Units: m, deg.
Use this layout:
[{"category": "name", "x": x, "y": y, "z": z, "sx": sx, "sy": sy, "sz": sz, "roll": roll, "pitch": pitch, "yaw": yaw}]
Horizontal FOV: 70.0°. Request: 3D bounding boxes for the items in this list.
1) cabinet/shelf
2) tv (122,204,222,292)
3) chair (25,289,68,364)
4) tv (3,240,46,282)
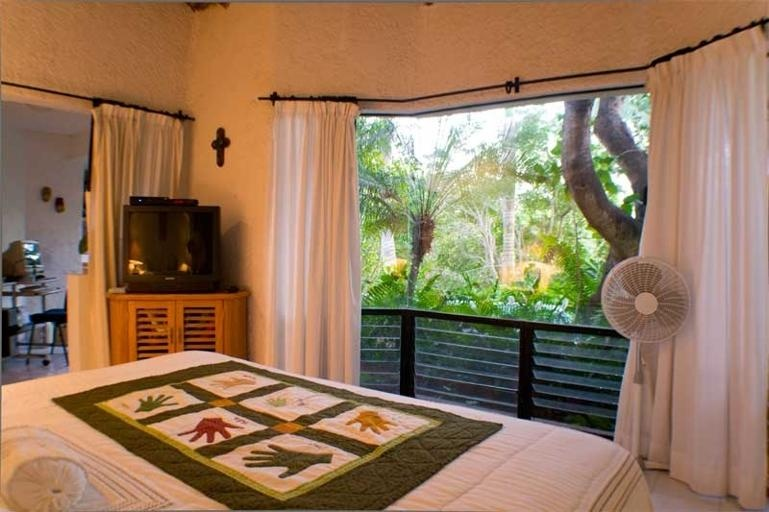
[{"category": "cabinet/shelf", "x": -1.664, "y": 0.578, "z": 4.230, "sx": 0.620, "sy": 0.505, "sz": 0.241, "roll": 0, "pitch": 1, "yaw": -9}, {"category": "tv", "x": -1.786, "y": -0.076, "z": 4.488, "sx": 0.796, "sy": 0.657, "sz": 0.415, "roll": 1, "pitch": 3, "yaw": -11}, {"category": "chair", "x": -3.707, "y": 0.789, "z": 6.072, "sx": 0.422, "sy": 0.607, "sz": 0.380, "roll": 1, "pitch": -4, "yaw": -31}, {"category": "tv", "x": -3.731, "y": 0.054, "z": 5.650, "sx": 0.298, "sy": 0.452, "sz": 0.549, "roll": 0, "pitch": 1, "yaw": -23}]
